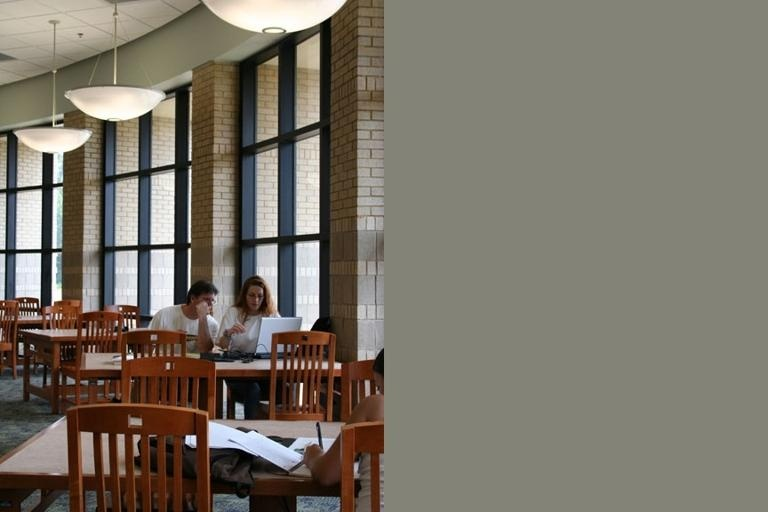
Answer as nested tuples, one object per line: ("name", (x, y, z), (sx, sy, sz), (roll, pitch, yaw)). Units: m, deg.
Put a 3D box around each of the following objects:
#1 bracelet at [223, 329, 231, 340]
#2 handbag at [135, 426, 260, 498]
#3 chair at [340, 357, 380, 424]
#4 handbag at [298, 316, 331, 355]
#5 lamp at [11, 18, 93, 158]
("bracelet", (-0.808, 0.407, 4.921), (0.027, 0.034, 0.037), (-1, 3, -3))
("handbag", (-0.419, 0.487, 2.220), (0.205, 0.055, 0.205), (0, -4, 15))
("chair", (-0.047, 0.327, 2.321), (0.114, 0.154, 0.119), (-12, -5, 11))
("handbag", (-0.383, 0.464, 5.606), (0.168, 0.308, 0.179), (-3, -18, 12))
("lamp", (-2.599, -1.336, 7.520), (0.567, 0.976, 0.559), (7, 11, 22))
